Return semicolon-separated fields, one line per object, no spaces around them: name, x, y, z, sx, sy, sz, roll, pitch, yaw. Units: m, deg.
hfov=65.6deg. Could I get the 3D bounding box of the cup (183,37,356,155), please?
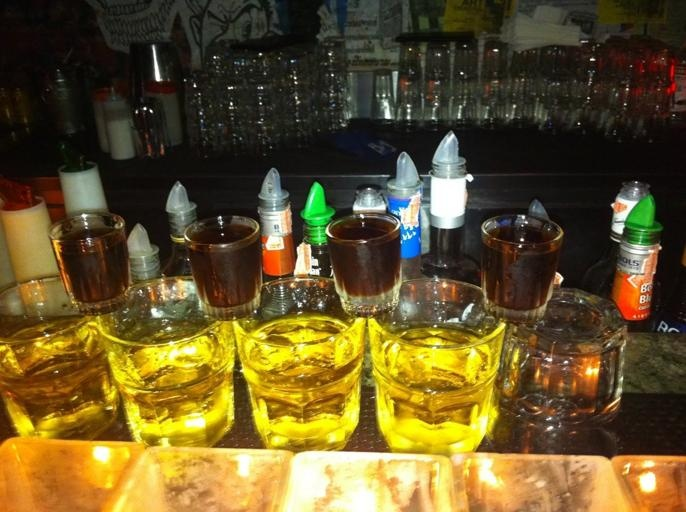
cup;-0.254;-0.557;1.909;0.468;0.253;0.565;-3;20;-3
